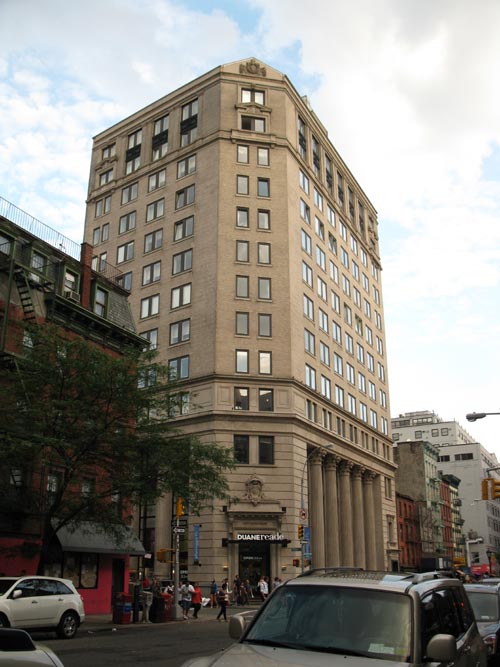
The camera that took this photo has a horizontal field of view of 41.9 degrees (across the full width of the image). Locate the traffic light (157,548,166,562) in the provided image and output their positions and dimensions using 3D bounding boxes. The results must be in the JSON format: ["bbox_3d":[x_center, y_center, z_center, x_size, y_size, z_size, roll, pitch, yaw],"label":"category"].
[{"bbox_3d":[-3.710,9.236,27.418,0.417,0.501,1.571,4,-21,-5],"label":"traffic light"}]
